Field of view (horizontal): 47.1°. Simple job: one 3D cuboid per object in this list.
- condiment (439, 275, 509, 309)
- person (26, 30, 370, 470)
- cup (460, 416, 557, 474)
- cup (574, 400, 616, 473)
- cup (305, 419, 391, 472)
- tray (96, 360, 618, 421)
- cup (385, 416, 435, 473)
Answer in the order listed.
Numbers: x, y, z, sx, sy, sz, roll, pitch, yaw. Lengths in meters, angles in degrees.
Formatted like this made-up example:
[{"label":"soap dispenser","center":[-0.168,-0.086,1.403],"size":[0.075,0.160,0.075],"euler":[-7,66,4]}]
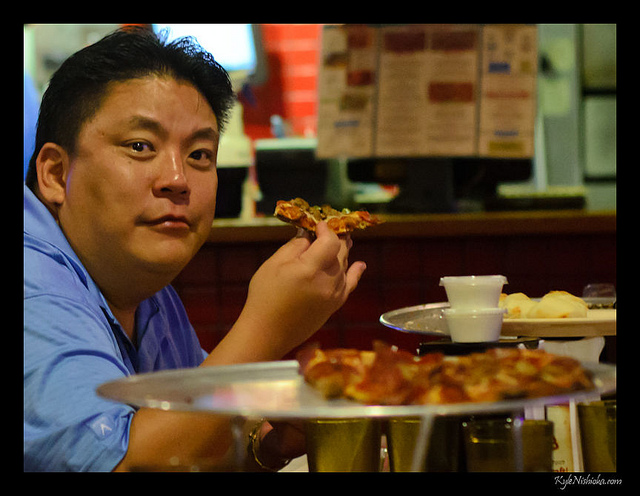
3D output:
[{"label":"condiment","center":[0.299,0.088,1.449],"size":[0.121,0.062,0.058],"euler":[-1,3,10]},{"label":"person","center":[-0.365,-0.032,1.578],"size":[0.595,0.896,0.697],"euler":[-4,4,-42]},{"label":"cup","center":[0.340,0.360,1.326],"size":[0.181,0.134,0.089],"euler":[-1,3,3]},{"label":"cup","center":[0.543,0.368,1.408],"size":[0.098,0.130,0.092],"euler":[4,-17,1]},{"label":"cup","center":[0.044,0.358,1.326],"size":[0.133,0.091,0.100],"euler":[0,-3,4]},{"label":"tray","center":[0.049,0.244,1.200],"size":[0.826,0.083,0.227],"euler":[-1,3,-1]},{"label":"cup","center":[0.157,0.343,1.339],"size":[0.111,0.119,0.107],"euler":[0,-1,0]}]
